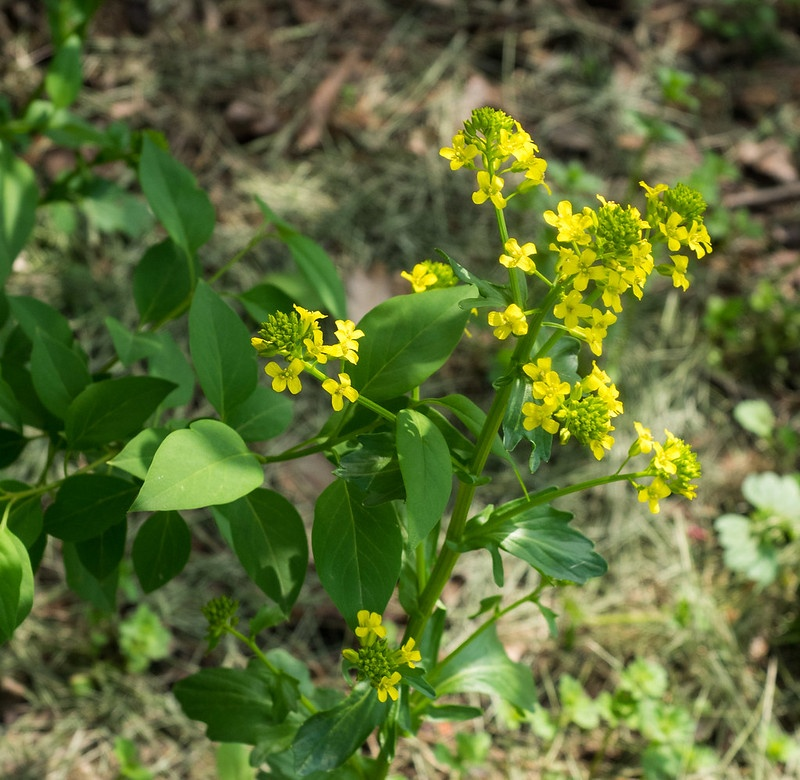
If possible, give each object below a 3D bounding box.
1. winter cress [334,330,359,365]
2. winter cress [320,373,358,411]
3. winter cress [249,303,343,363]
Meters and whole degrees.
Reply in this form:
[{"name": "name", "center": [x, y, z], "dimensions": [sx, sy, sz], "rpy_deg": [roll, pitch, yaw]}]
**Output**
[{"name": "winter cress", "center": [-0.109, -0.079, 1.459], "dimensions": [0.064, 0.029, 0.057], "rpy_deg": [32, 41, -34]}, {"name": "winter cress", "center": [-0.117, 0.003, 1.456], "dimensions": [0.092, 0.026, 0.067], "rpy_deg": [15, 82, -1]}, {"name": "winter cress", "center": [-0.197, -0.104, 1.456], "dimensions": [0.157, 0.123, 0.084], "rpy_deg": [-1, 43, -38]}]
